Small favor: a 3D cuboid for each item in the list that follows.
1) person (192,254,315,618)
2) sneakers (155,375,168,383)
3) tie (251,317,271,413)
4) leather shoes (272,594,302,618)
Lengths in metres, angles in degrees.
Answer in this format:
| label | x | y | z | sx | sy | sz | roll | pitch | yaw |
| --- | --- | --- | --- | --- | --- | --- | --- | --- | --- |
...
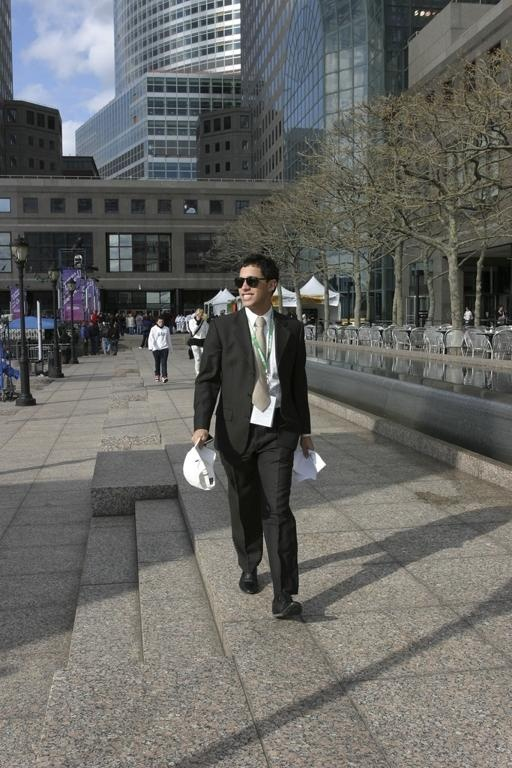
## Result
| label | x | y | z | sx | sy | sz | roll | pitch | yaw |
| --- | --- | --- | --- | --- | --- | --- | --- | --- | --- |
| person | -0.016 | 0.240 | 2.904 | 0.571 | 1.719 | 0.440 | -8 | -2 | 25 |
| sneakers | -3.174 | -0.175 | 18.284 | 0.175 | 0.234 | 0.528 | 1 | -4 | -31 |
| tie | 0.012 | -0.105 | 2.768 | 0.087 | 0.445 | 0.166 | -8 | -2 | 16 |
| leather shoes | 0.147 | 1.084 | 2.671 | 0.146 | 0.110 | 0.127 | -8 | -2 | -2 |
